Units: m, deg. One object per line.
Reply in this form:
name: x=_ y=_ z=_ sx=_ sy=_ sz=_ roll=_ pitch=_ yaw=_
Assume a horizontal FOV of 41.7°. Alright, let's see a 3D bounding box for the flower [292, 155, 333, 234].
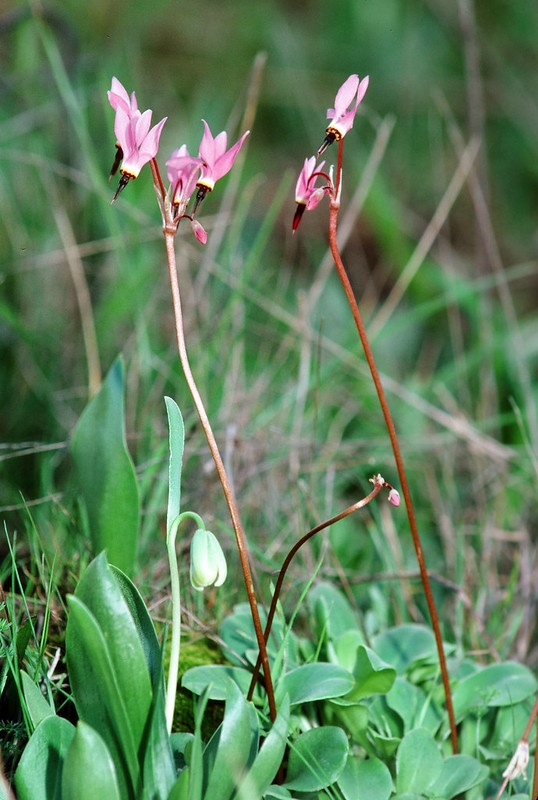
flower: x=0.043 y=-0.236 z=0.807 sx=0.027 sy=0.076 sz=0.055 roll=22 pitch=28 yaw=36
